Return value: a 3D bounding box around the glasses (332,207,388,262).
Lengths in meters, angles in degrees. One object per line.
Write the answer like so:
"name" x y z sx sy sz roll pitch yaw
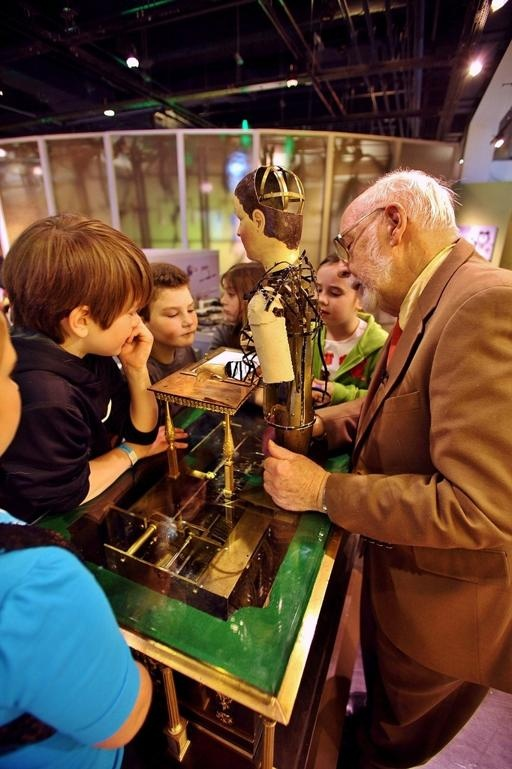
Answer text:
"glasses" 0.282 -0.416 1.419 0.109 0.107 0.034 -25 53 3

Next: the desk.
"desk" -0.159 0.597 1.382 0.782 0.478 0.788 19 44 27

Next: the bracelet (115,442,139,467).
"bracelet" -0.353 0.190 1.393 0.016 0.053 0.055 -37 60 -8

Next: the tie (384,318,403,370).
"tie" 0.403 -0.126 1.546 0.030 0.125 0.091 19 10 14
